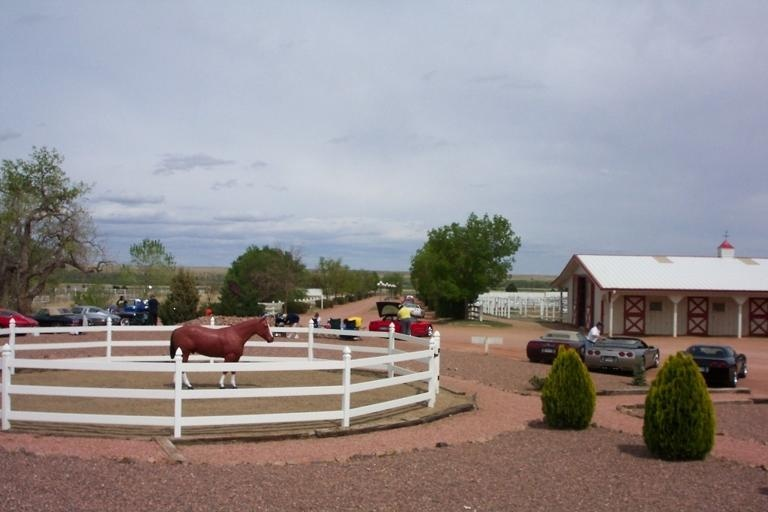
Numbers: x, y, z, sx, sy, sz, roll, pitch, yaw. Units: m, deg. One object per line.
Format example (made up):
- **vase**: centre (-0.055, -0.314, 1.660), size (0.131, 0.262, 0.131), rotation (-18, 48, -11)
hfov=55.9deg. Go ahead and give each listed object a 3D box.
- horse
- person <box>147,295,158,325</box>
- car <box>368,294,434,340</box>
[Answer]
- **horse**: centre (-4.754, 2.838, 21.224), size (3.011, 2.167, 0.810), rotation (1, -1, -6)
- **person**: centre (-12.218, 2.868, 38.330), size (0.478, 1.604, 2.708), rotation (3, -2, -20)
- **car**: centre (0.884, 3.438, 37.716), size (1.949, 1.767, 3.714), rotation (0, -2, 42)
